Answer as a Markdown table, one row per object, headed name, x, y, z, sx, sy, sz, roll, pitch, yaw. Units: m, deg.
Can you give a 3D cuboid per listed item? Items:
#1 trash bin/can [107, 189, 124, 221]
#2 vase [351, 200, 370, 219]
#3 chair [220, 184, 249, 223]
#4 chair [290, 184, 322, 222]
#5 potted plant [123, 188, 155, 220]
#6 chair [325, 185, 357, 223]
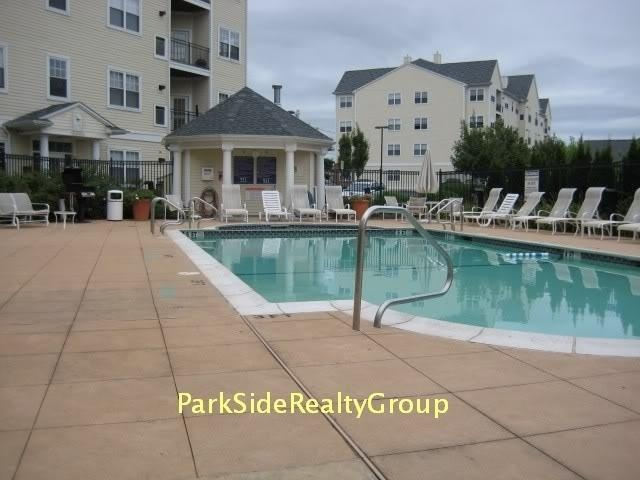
| name | x | y | z | sx | sy | sz | roll | pitch | yaw |
| --- | --- | --- | --- | --- | --- | --- | --- | --- | --- |
| trash bin/can | -7.878 | -1.276 | 18.840 | 0.532 | 1.147 | 0.342 | -2 | 7 | -20 |
| vase | 1.878 | -1.318 | 22.619 | 0.939 | 1.026 | 0.981 | 0 | 2 | 1 |
| chair | -3.432 | -1.439 | 19.433 | 0.990 | 1.429 | 2.050 | 0 | 4 | -16 |
| chair | -0.473 | -1.568 | 20.738 | 0.794 | 1.386 | 1.992 | -1 | 3 | -18 |
| potted plant | -7.350 | -1.388 | 19.819 | 0.933 | 1.203 | 1.586 | -4 | 8 | -34 |
| chair | 0.701 | -1.559 | 20.947 | 0.991 | 1.377 | 2.118 | -1 | 5 | -9 |
